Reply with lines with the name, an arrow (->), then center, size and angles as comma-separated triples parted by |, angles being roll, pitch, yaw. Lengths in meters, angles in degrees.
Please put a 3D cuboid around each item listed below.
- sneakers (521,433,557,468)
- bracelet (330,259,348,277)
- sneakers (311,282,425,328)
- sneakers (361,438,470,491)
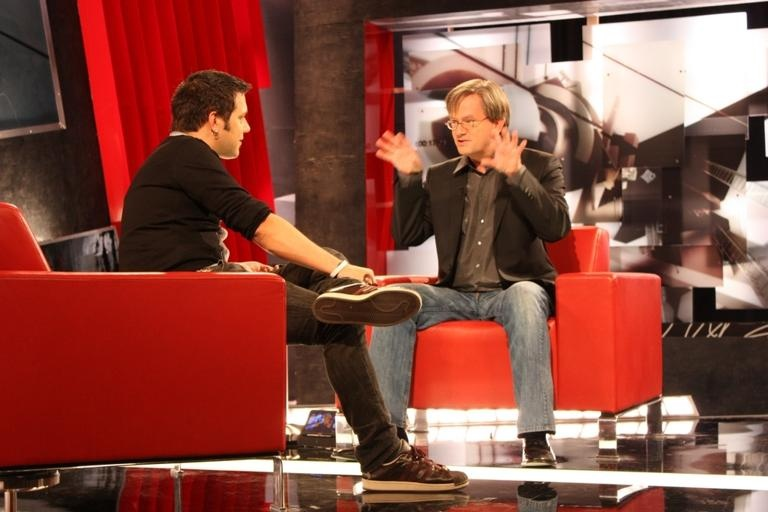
sneakers -> 0.625, 0.801, 2.994 | 0.151, 0.151, 0.117 | 0, 1, 31
bracelet -> -0.168, 0.043, 2.743 | 0.103, 0.033, 0.040 | -34, 2, 3
sneakers -> -0.054, 0.152, 2.623 | 0.404, 0.145, 0.171 | 2, 11, 3
sneakers -> 0.116, 0.822, 2.842 | 0.479, 0.199, 0.148 | 0, -5, -6
